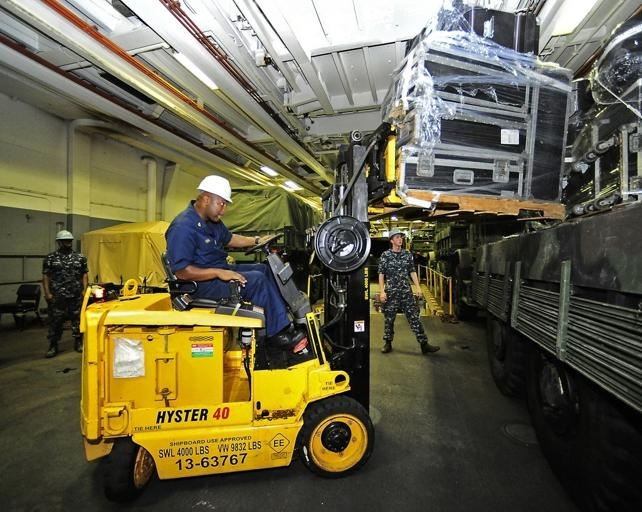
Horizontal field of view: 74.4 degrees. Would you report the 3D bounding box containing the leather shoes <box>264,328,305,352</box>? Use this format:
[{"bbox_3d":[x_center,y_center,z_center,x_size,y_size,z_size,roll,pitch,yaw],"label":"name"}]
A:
[{"bbox_3d":[-0.349,0.861,4.379,0.349,0.144,0.205,-2,5,-4],"label":"leather shoes"}]

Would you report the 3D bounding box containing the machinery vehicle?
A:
[{"bbox_3d":[-0.954,0.804,4.762,3.004,2.589,1.752,4,3,-14],"label":"machinery vehicle"}]

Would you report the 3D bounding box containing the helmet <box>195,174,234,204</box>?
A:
[{"bbox_3d":[-1.130,-0.743,4.635,0.429,0.209,0.304,11,6,-4],"label":"helmet"}]

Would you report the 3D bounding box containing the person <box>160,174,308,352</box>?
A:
[{"bbox_3d":[-0.941,0.072,4.748,1.558,1.672,1.017,4,16,-6],"label":"person"}]

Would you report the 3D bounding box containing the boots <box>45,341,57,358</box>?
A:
[{"bbox_3d":[-4.845,1.657,7.600,0.172,0.244,0.380,-8,14,-27],"label":"boots"}]
